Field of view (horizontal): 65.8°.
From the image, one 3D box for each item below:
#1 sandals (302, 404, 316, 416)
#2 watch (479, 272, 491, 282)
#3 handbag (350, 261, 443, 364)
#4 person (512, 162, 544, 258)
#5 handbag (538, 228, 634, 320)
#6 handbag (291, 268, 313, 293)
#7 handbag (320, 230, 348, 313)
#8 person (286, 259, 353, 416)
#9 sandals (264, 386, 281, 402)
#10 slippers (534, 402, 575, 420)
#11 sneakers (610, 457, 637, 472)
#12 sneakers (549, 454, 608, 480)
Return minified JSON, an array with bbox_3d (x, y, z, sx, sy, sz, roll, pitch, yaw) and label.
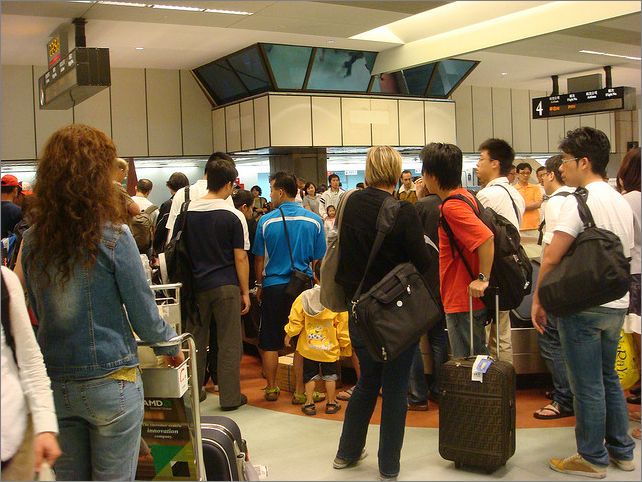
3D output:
[{"bbox_3d":[-0.099,1.386,4.060,0.109,0.073,0.107,-3,1,-3],"label":"sandals"},{"bbox_3d":[0.994,0.228,3.038,0.045,0.033,0.054,16,-6,36],"label":"watch"},{"bbox_3d":[0.428,0.397,2.793,0.445,0.390,0.239,-32,8,-19],"label":"handbag"},{"bbox_3d":[2.955,-0.314,7.224,0.450,1.634,0.443,-1,35,17],"label":"person"},{"bbox_3d":[1.469,0.188,2.748,0.198,0.364,0.354,17,-44,-41],"label":"handbag"},{"bbox_3d":[-0.173,0.353,4.310,0.158,0.162,0.073,23,-8,-16],"label":"handbag"},{"bbox_3d":[0.103,0.190,3.070,0.131,0.490,0.178,8,10,26],"label":"handbag"},{"bbox_3d":[-0.036,0.822,4.159,0.512,1.262,0.379,-1,5,0],"label":"person"},{"bbox_3d":[-0.445,1.380,4.476,0.077,0.076,0.168,0,5,1],"label":"sandals"},{"bbox_3d":[1.738,1.281,3.768,0.319,0.129,0.123,1,-6,-5],"label":"slippers"},{"bbox_3d":[1.806,1.329,2.977,0.055,0.064,0.141,-2,5,-19],"label":"sneakers"},{"bbox_3d":[1.492,1.331,2.891,0.282,0.133,0.108,4,-3,34],"label":"sneakers"}]
